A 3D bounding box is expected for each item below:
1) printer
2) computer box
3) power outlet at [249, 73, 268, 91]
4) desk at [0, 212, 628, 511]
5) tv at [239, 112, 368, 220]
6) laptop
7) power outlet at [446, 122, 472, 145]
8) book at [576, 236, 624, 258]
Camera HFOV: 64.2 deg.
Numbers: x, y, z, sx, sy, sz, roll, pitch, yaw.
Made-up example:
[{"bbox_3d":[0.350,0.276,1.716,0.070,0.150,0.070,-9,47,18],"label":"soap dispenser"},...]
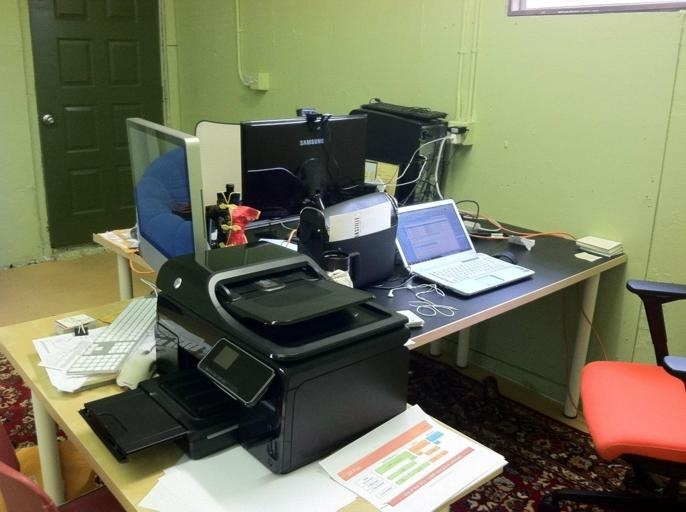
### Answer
[{"bbox_3d":[-0.199,0.266,1.502,0.752,0.436,0.542,-19,33,-38],"label":"printer"},{"bbox_3d":[0.312,-0.560,3.053,0.302,0.457,0.518,-1,14,-39],"label":"computer box"},{"bbox_3d":[-0.627,-1.300,4.113,0.192,0.142,0.056,13,29,33],"label":"power outlet"},{"bbox_3d":[-0.414,0.223,2.822,1.928,0.861,1.863,-12,24,-29],"label":"desk"},{"bbox_3d":[-0.169,-0.370,2.296,0.511,0.320,0.084,-17,30,-35],"label":"tv"},{"bbox_3d":[0.471,-0.043,2.234,0.446,0.271,0.459,-20,29,-35],"label":"laptop"},{"bbox_3d":[0.612,-0.666,3.022,0.115,0.133,0.142,-20,36,-31],"label":"power outlet"},{"bbox_3d":[1.215,-0.039,2.590,0.171,0.059,0.174,-23,30,-40],"label":"book"}]
